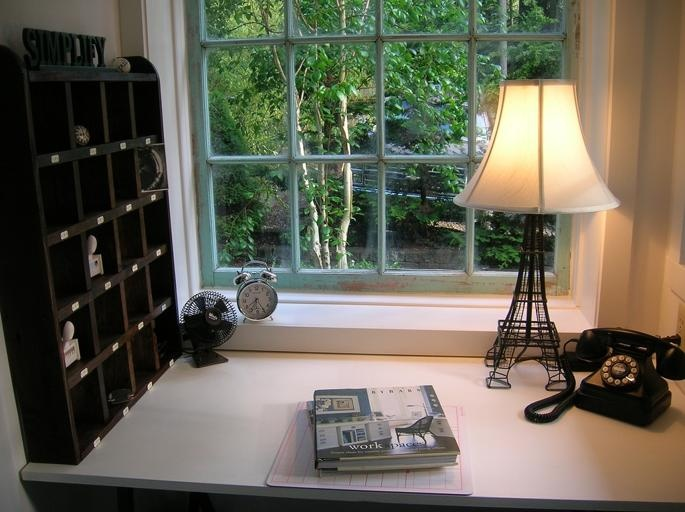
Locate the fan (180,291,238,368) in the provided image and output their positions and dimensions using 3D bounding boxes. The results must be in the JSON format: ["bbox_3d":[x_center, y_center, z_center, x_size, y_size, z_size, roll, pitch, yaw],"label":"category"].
[{"bbox_3d":[-0.480,0.260,2.078,0.175,0.282,0.216,-9,-21,35],"label":"fan"}]

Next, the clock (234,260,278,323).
[{"bbox_3d":[-0.345,0.151,2.209,0.171,0.254,0.108,-4,1,10],"label":"clock"}]

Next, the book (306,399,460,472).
[{"bbox_3d":[0.114,0.519,1.637,0.400,0.093,0.270,-2,15,-1],"label":"book"}]
